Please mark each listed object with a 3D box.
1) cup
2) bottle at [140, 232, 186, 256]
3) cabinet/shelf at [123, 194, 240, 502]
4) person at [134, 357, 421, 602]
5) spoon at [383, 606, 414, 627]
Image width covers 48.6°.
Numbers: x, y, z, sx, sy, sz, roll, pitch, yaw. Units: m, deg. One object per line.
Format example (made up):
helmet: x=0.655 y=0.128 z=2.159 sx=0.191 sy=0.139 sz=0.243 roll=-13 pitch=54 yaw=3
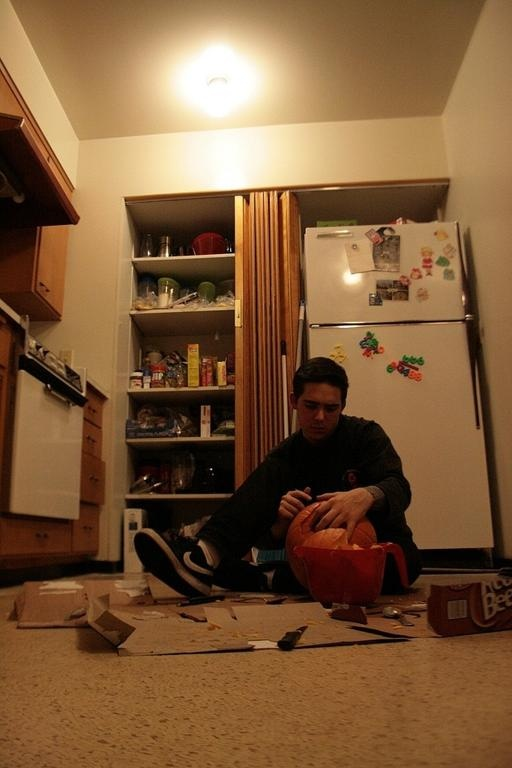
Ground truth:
cup: x=0.206 y=0.419 z=1.242 sx=0.248 sy=0.138 sz=0.164 roll=-1 pitch=-25 yaw=4
bottle: x=-0.637 y=-0.899 z=3.685 sx=0.190 sy=0.142 sz=0.332 roll=0 pitch=2 yaw=-20
cabinet/shelf: x=-0.451 y=-0.200 z=3.473 sx=0.630 sy=1.704 sz=0.392 roll=-1 pitch=-10 yaw=-2
person: x=0.095 y=0.278 z=1.761 sx=0.959 sy=0.766 sz=0.563 roll=19 pitch=-25 yaw=-38
spoon: x=0.288 y=0.451 z=1.111 sx=0.031 sy=0.011 sz=0.063 roll=5 pitch=-4 yaw=-3
